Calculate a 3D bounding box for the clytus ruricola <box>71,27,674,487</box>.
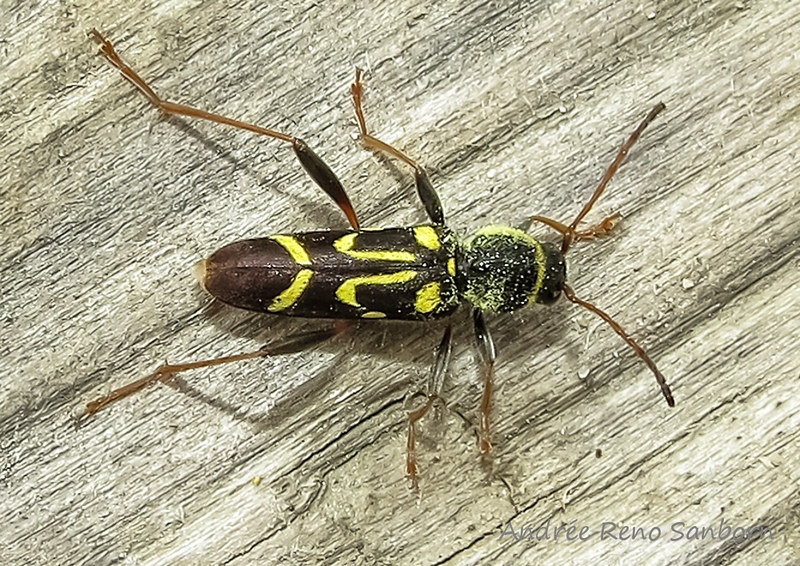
[{"bbox_3d":[0.018,-0.143,7.887,6.064,0.986,2.947,-1,82,0],"label":"clytus ruricola"}]
